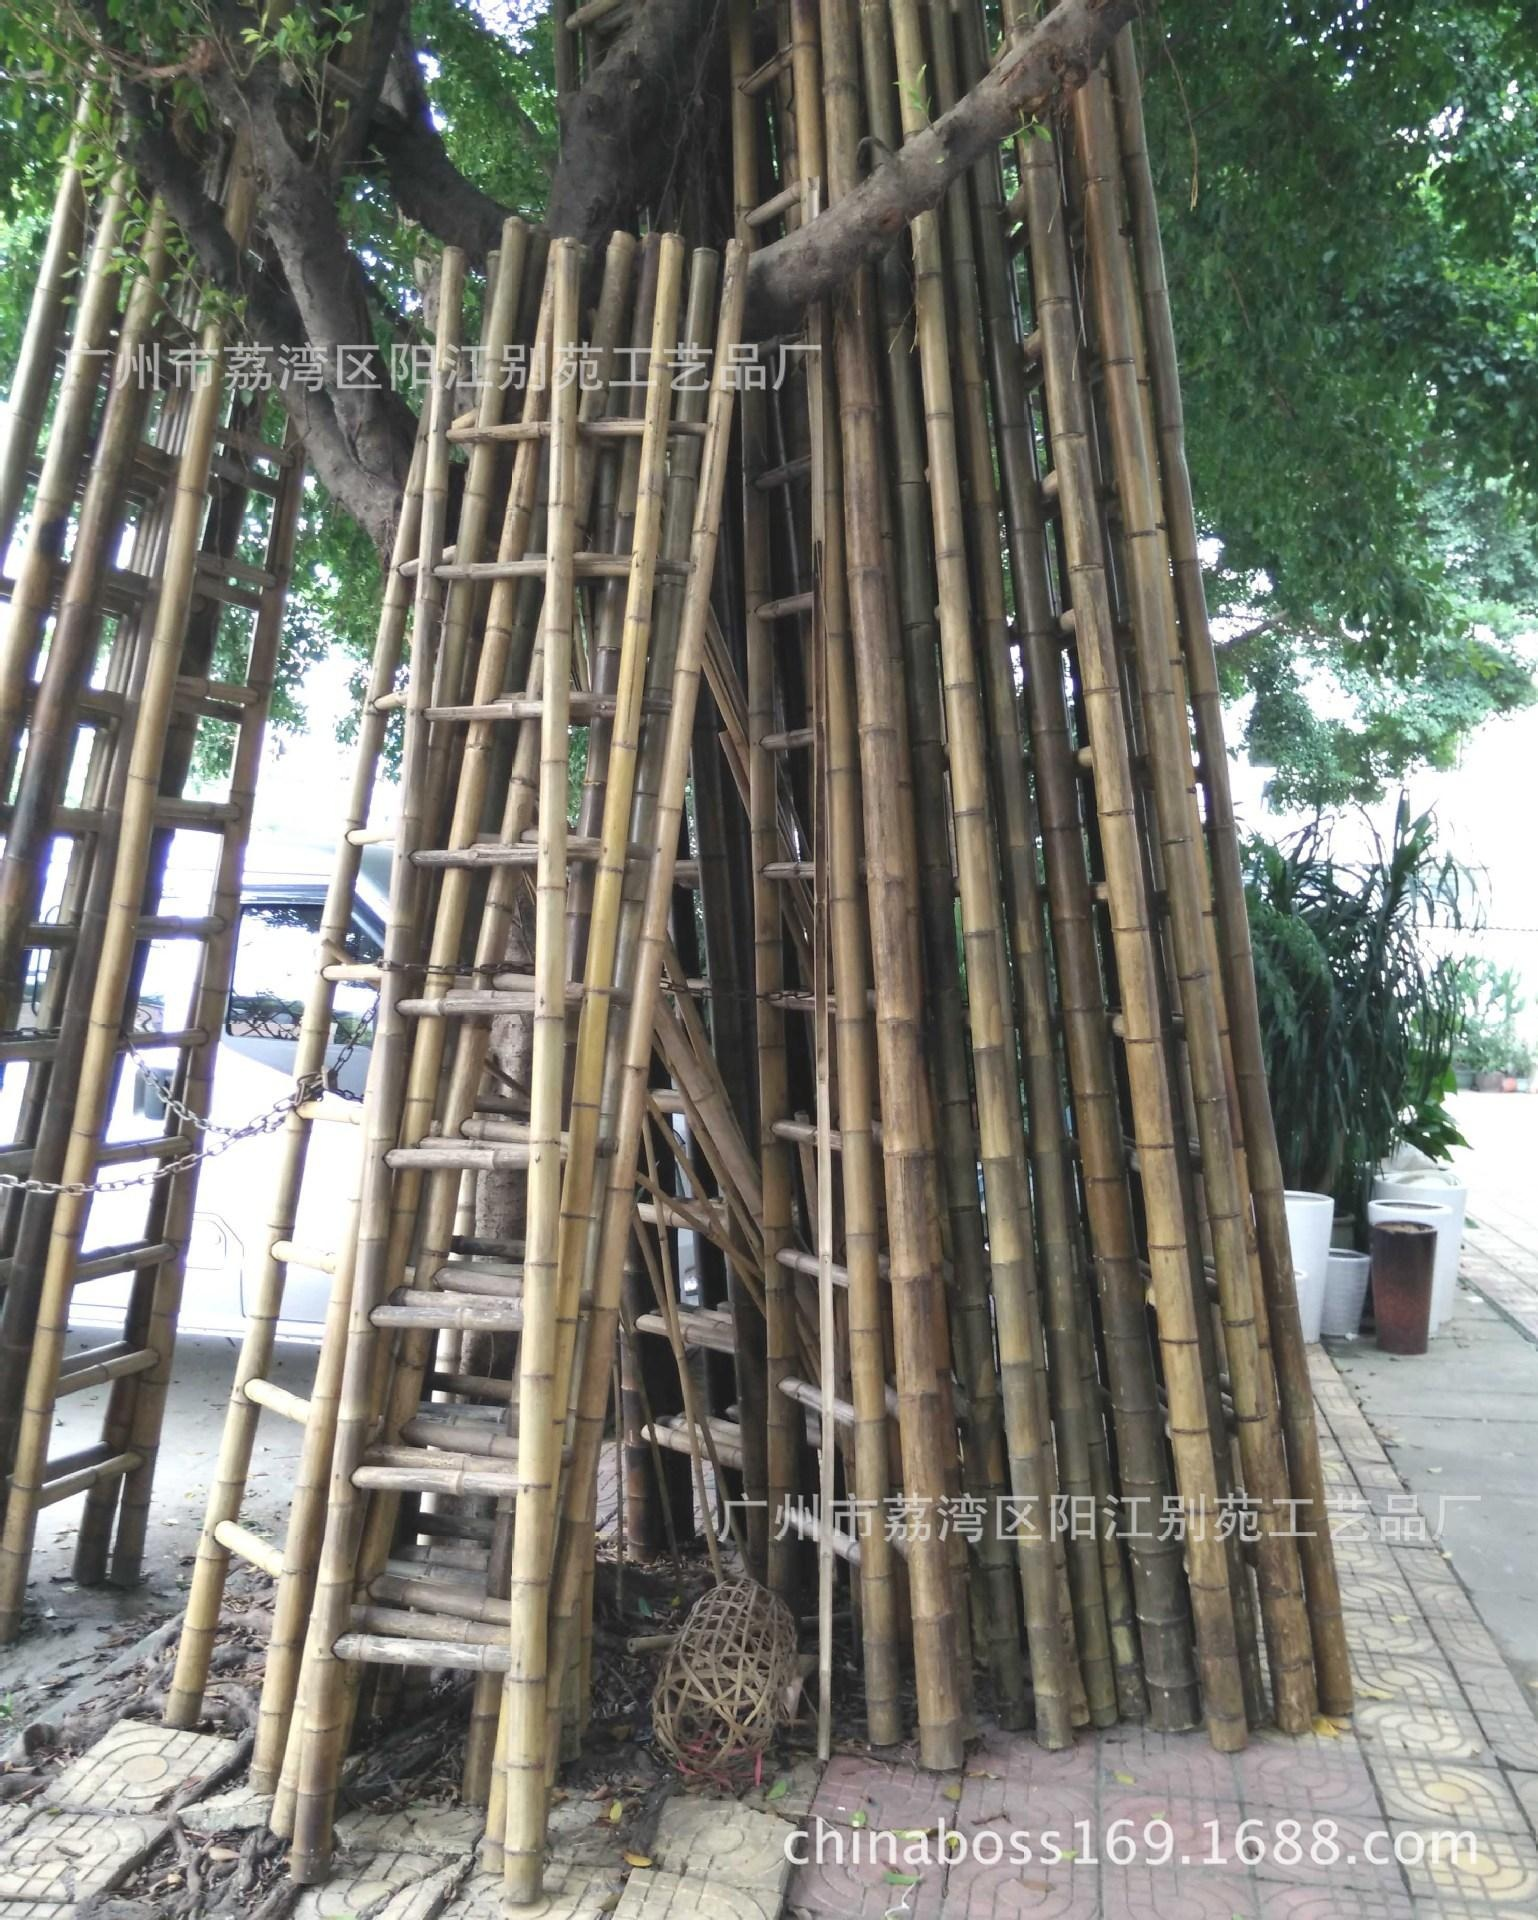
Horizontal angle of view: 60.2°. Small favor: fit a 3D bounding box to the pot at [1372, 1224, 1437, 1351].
[{"bbox_3d":[2.048,1.069,4.308,0.183,0.430,0.218,-1,-3,25],"label":"pot"}]
